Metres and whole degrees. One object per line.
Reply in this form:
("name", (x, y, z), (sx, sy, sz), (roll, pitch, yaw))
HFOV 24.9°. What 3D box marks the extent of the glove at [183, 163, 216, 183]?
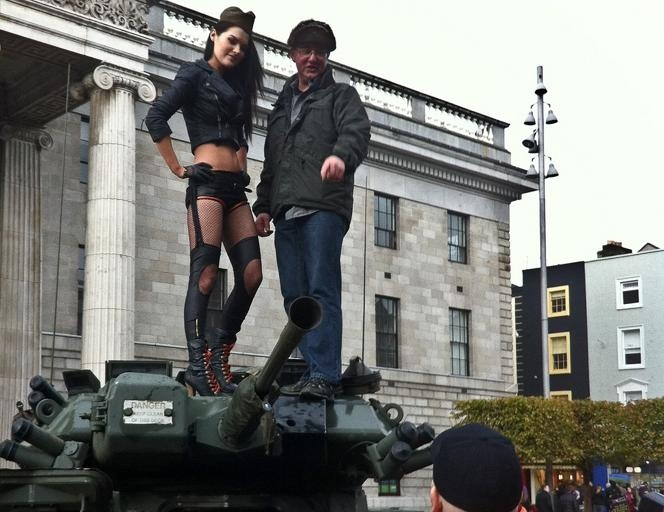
("glove", (-2.222, -1.332, 24.937), (0.475, 0.319, 0.234), (8, -15, -23))
